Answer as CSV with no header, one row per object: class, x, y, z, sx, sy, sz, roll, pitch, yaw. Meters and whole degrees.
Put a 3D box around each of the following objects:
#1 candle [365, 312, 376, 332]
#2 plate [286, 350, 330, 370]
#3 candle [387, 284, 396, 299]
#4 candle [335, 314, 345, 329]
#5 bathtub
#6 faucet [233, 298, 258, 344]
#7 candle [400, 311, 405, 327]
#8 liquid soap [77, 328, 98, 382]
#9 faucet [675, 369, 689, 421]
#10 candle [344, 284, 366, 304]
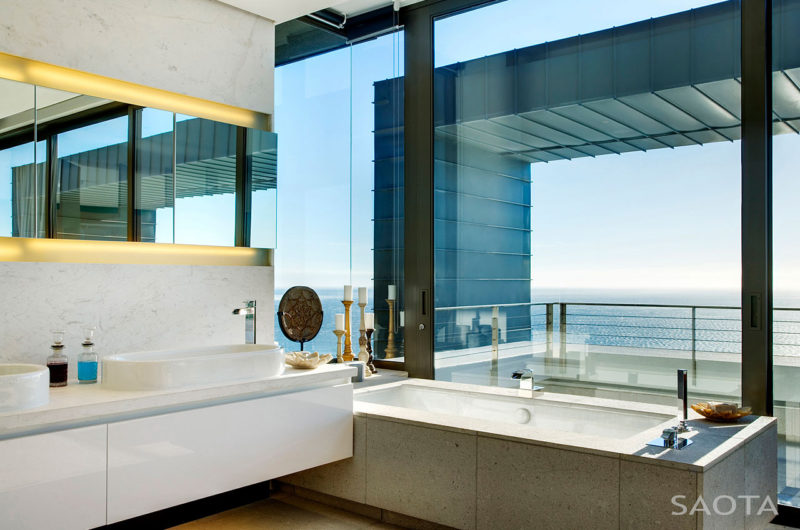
candle,-0.234,0.451,4.812,0.049,0.127,0.137,-1,0,18
plate,-0.616,0.628,4.014,0.264,0.095,0.249,-1,-1,8
candle,-0.064,0.233,5.063,0.065,0.112,0.015,-1,0,-14
candle,-0.456,0.435,4.587,0.062,0.109,0.039,-1,0,-16
bathtub,0.656,0.988,3.959,1.989,0.208,0.944,-1,-1,34
faucet,-1.049,0.389,4.103,0.158,0.245,0.309,-1,0,-13
candle,0.024,0.459,5.087,0.042,0.123,0.010,-1,0,13
liquid soap,-1.760,0.516,3.410,0.089,0.216,0.101,-1,0,-34
faucet,1.629,0.743,3.484,0.038,0.306,0.126,-1,0,31
candle,-0.356,0.237,4.778,0.168,0.110,0.052,0,3,-18
